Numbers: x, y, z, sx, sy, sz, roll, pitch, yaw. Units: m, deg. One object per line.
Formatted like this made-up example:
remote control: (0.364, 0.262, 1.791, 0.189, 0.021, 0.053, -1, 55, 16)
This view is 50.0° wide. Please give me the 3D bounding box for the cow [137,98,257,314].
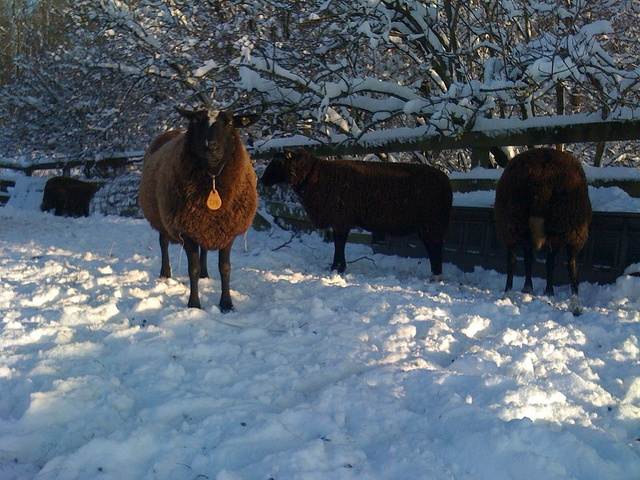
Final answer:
cow: (-1.988, -0.550, 11.175, 1.673, 3.099, 4.058, -2, 9, -20)
